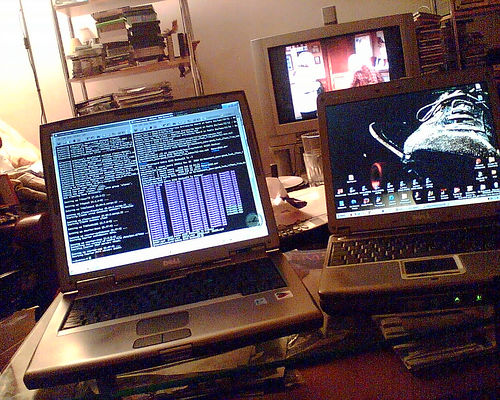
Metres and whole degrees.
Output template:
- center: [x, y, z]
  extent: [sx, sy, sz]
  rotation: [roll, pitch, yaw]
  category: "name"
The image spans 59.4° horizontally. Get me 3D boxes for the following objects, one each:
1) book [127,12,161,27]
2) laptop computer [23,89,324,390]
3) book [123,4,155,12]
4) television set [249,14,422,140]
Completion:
- center: [-0.665, -1.114, 2.707]
  extent: [0.179, 0.060, 0.028]
  rotation: [-12, 11, -16]
  category: "book"
- center: [-0.155, 0.023, 0.750]
  extent: [0.434, 0.386, 0.329]
  rotation: [-10, 11, -5]
  category: "laptop computer"
- center: [-0.684, -1.168, 2.683]
  extent: [0.182, 0.035, 0.042]
  rotation: [-9, 11, -5]
  category: "book"
- center: [0.771, -0.769, 2.869]
  extent: [0.679, 0.764, 1.248]
  rotation: [-25, 22, -39]
  category: "television set"
